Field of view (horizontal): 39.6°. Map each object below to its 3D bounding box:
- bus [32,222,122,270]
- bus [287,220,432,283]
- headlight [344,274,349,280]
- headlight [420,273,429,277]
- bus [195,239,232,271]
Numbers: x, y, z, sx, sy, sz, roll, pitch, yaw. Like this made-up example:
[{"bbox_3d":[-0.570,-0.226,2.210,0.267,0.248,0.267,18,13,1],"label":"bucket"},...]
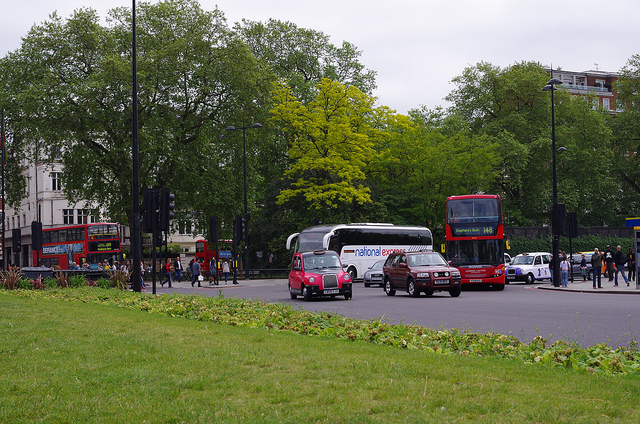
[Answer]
[{"bbox_3d":[-19.424,3.098,70.016,3.040,3.799,9.922,0,-4,-44],"label":"bus"},{"bbox_3d":[3.722,2.859,67.210,12.000,3.831,3.809,-1,0,-40],"label":"bus"},{"bbox_3d":[1.352,3.367,45.918,0.304,0.242,0.141,-6,9,-35],"label":"headlight"},{"bbox_3d":[5.374,3.256,46.004,0.448,0.156,0.070,0,8,4],"label":"headlight"},{"bbox_3d":[-9.119,4.151,83.119,1.644,3.156,5.318,-3,-4,38],"label":"bus"}]
